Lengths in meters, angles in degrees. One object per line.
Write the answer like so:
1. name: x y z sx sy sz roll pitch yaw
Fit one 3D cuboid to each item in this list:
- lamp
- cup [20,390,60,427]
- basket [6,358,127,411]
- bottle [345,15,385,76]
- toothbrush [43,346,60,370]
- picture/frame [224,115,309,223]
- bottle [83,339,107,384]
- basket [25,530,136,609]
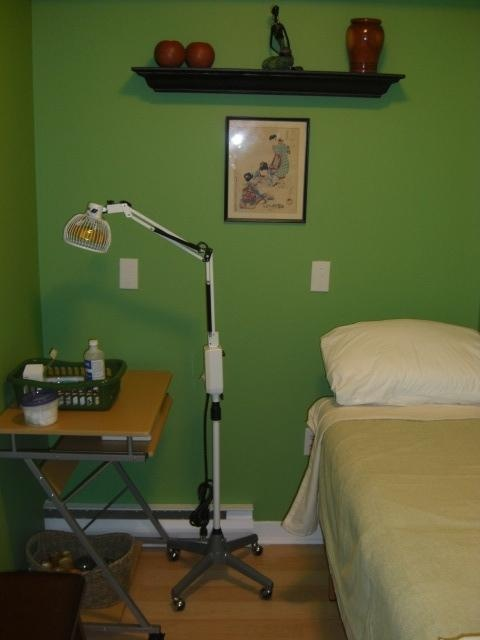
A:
1. lamp: -0.224 0.283 2.003 0.658 1.422 0.387 -1 17 1
2. cup: -0.567 0.257 1.665 0.089 0.075 0.096 7 20 -2
3. basket: -0.541 0.216 1.858 0.256 0.090 0.205 3 11 -2
4. bottle: 0.442 -0.978 2.086 0.164 0.230 0.179 -1 20 0
5. toothbrush: -0.690 0.139 2.123 0.033 0.071 0.033 14 24 -20
6. picture/frame: 0.098 -0.601 2.227 0.341 0.479 0.029 0 8 -3
7. bottle: -0.463 0.136 1.853 0.057 0.157 0.059 0 15 0
8. basket: -0.560 0.865 2.060 0.351 0.184 0.263 7 11 3
